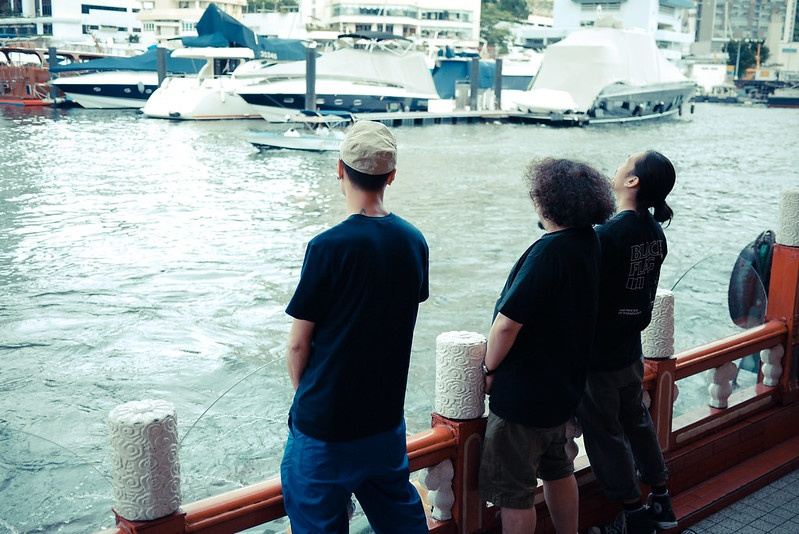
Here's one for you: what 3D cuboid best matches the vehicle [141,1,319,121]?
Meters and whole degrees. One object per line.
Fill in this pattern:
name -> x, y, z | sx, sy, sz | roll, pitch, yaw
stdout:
vehicle -> -9.684, -9.656, 35.812 | 4.313, 4.756, 11.401 | 11, 13, 36

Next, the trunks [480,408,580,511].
trunks -> 0.619, 0.945, 3.532 | 0.601, 0.528, 0.307 | -4, 9, -35

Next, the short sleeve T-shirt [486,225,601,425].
short sleeve T-shirt -> 0.713, 0.289, 3.500 | 0.537, 0.937, 0.339 | 1, 15, 3

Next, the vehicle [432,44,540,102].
vehicle -> 6.083, -13.078, 49.243 | 9.020, 3.308, 2.480 | -6, 23, -31

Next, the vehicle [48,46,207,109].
vehicle -> -14.177, -10.171, 38.808 | 8.521, 3.189, 2.982 | -18, 39, -36

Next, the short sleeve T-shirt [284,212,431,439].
short sleeve T-shirt -> -0.151, 0.253, 3.140 | 0.636, 0.949, 0.257 | -11, 18, -35

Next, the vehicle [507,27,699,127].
vehicle -> 11.648, -10.107, 39.192 | 10.895, 3.971, 4.964 | -13, 31, -26

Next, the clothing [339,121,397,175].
clothing -> -0.163, -0.518, 3.227 | 0.291, 0.168, 0.273 | 20, 21, 34
